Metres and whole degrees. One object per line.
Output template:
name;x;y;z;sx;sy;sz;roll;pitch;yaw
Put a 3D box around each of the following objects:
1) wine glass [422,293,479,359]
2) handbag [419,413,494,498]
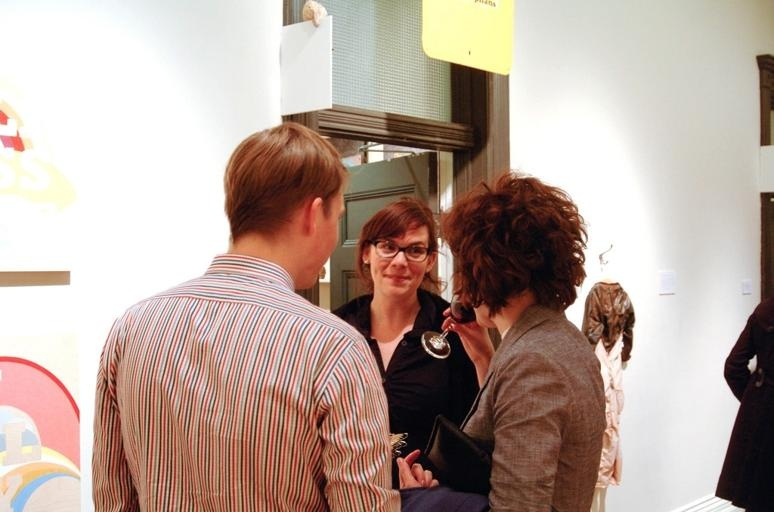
wine glass;0.244;0.279;2.447;0.125;0.120;0.288;24;-46;-13
handbag;0.213;0.590;1.936;0.199;0.201;0.074;25;35;36
